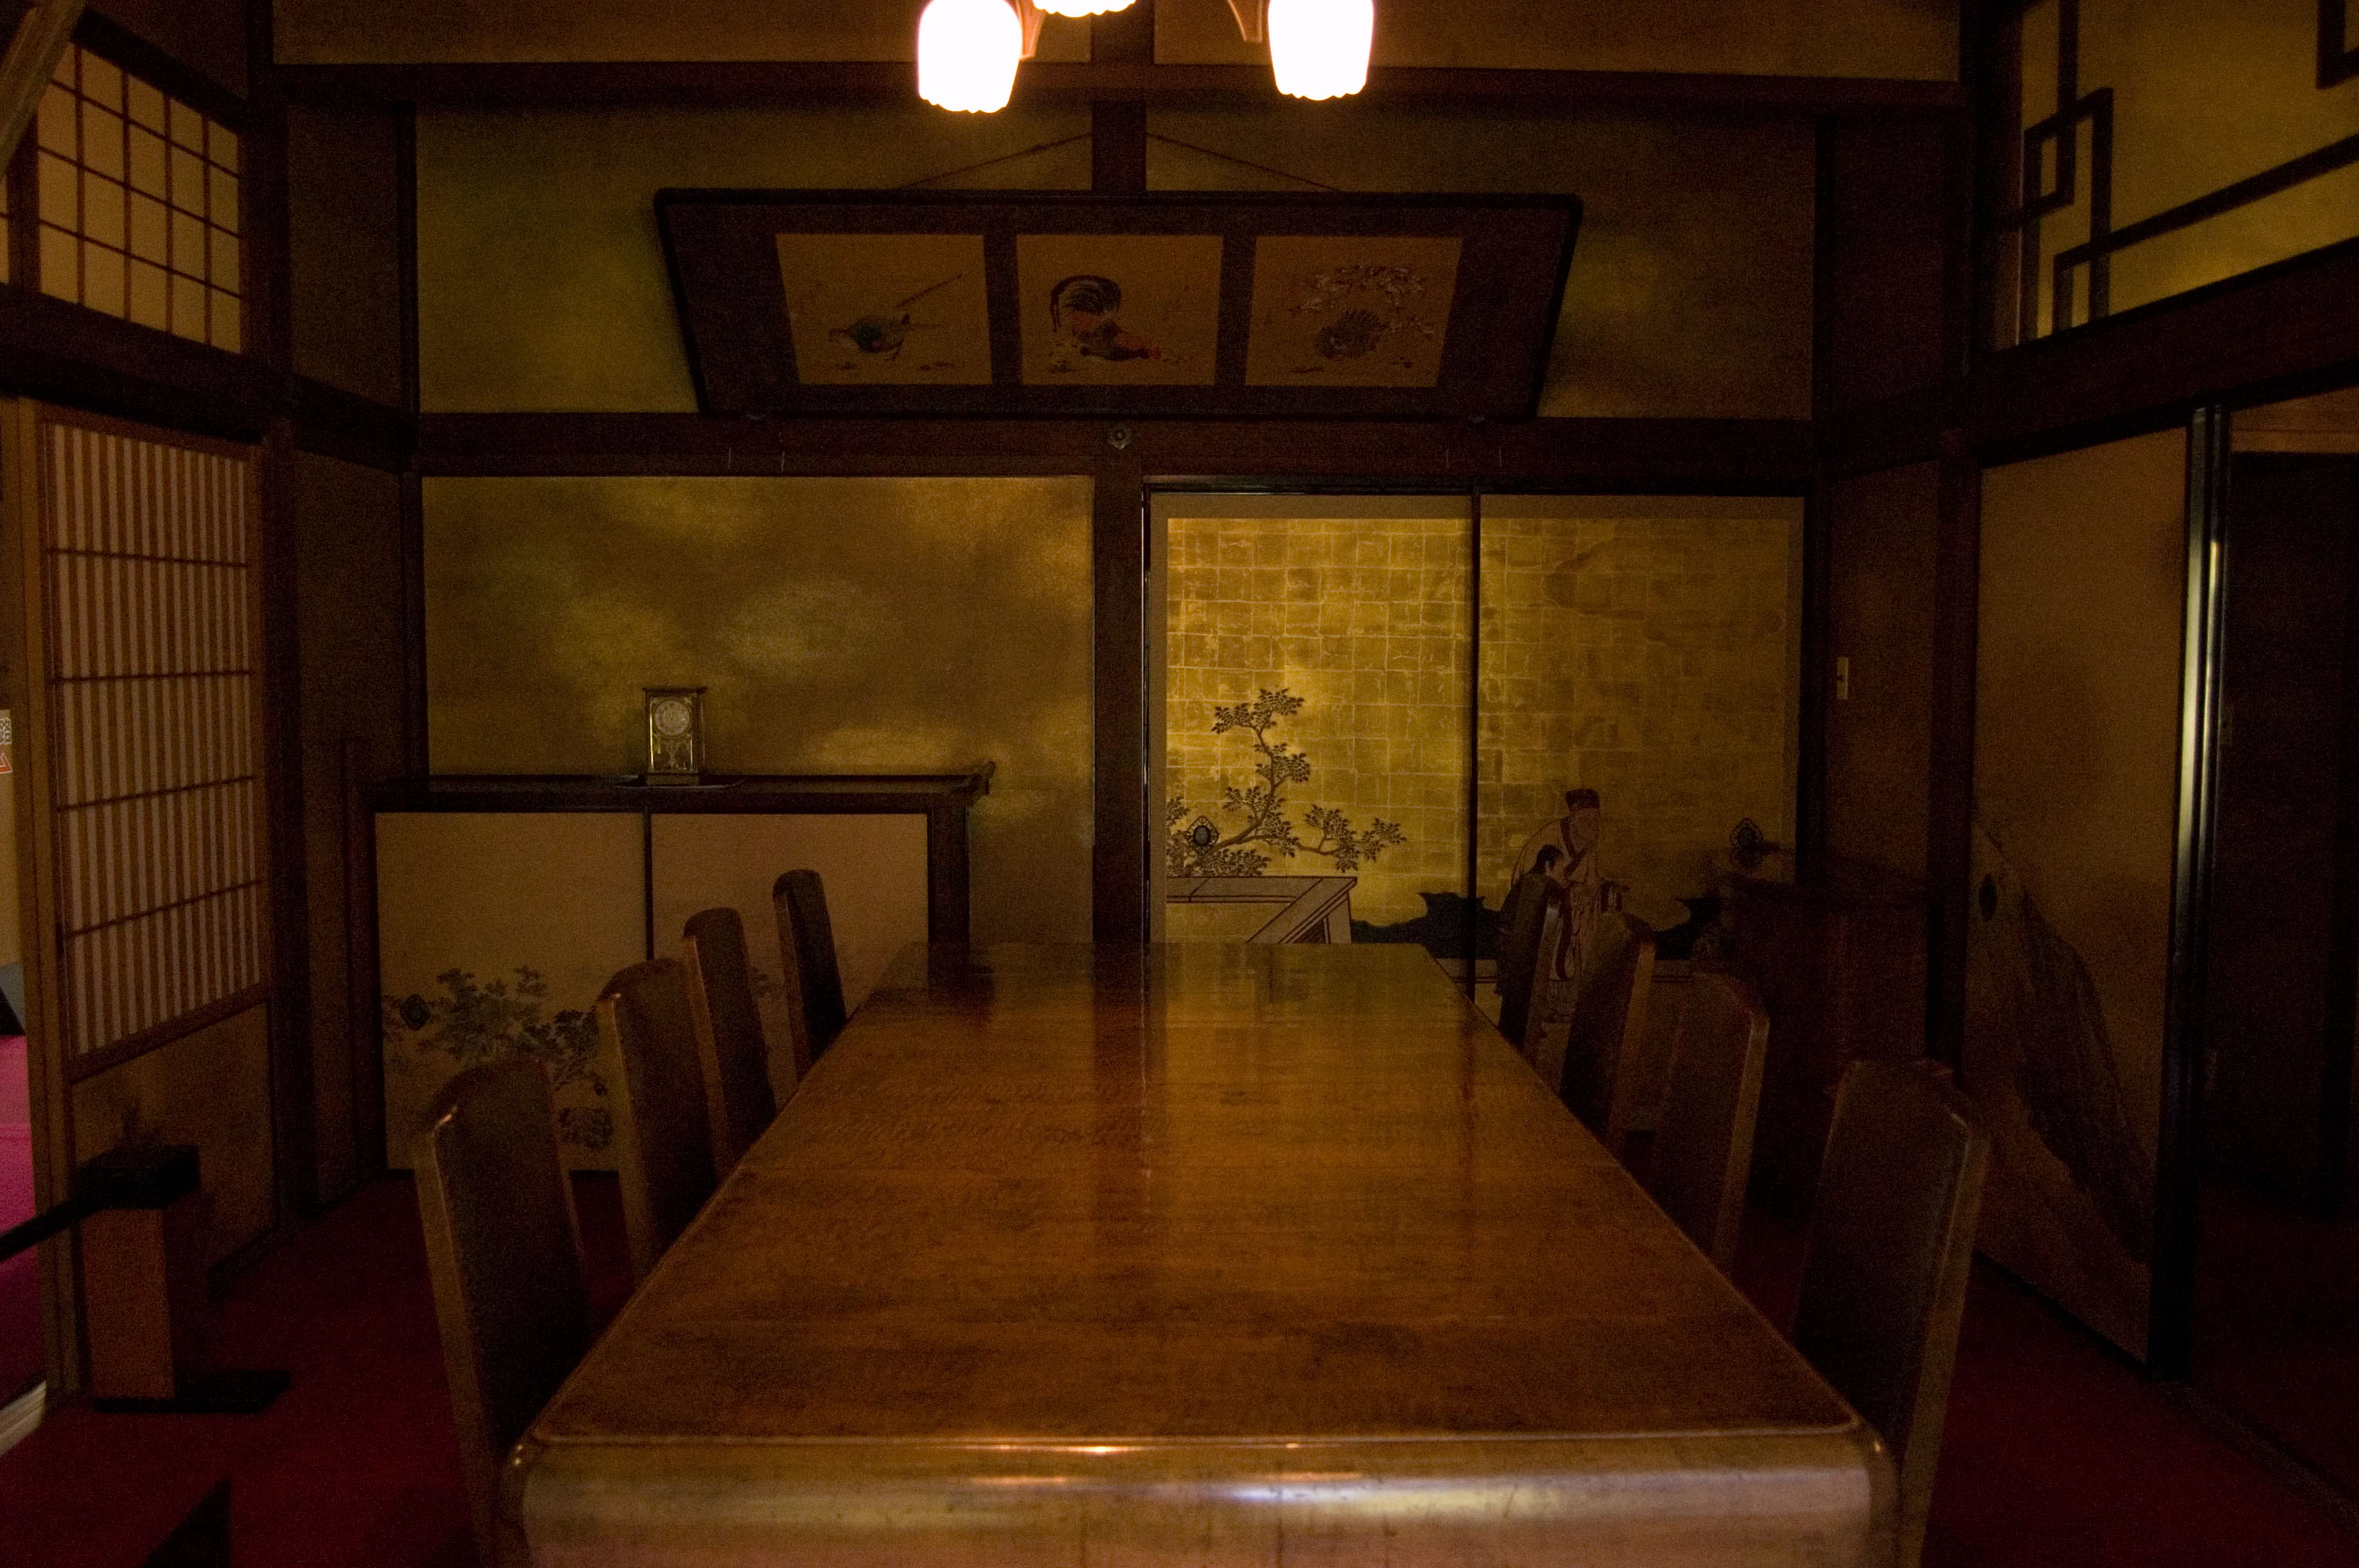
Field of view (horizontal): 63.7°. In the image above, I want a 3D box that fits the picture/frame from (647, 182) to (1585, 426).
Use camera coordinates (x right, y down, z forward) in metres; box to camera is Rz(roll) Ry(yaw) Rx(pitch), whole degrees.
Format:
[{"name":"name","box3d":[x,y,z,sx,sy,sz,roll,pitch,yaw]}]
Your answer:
[{"name":"picture/frame","box3d":[-0.193,-1.471,5.966,2.441,0.077,0.772,-2,-40,-13]}]
